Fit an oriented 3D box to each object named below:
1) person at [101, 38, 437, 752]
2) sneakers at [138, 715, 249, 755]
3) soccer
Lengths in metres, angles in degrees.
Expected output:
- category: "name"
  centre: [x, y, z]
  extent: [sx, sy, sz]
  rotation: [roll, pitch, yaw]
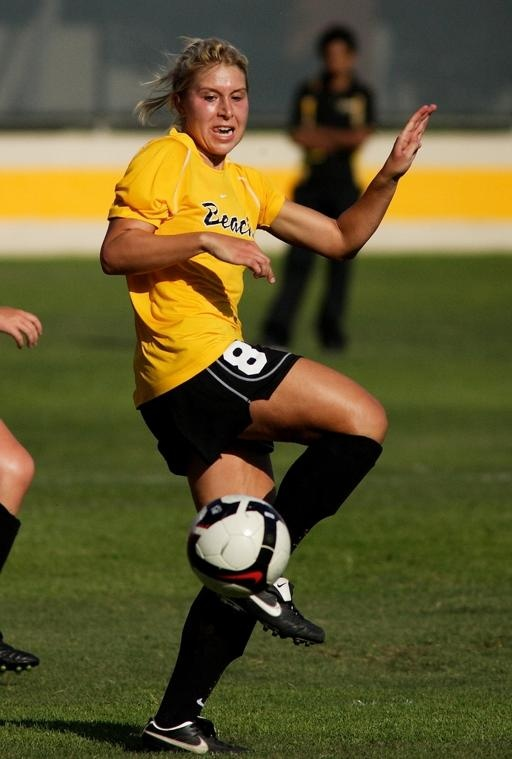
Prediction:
- category: "person"
  centre: [0.026, 0.016, 2.026]
  extent: [0.693, 1.592, 0.607]
  rotation: [0, 8, 11]
- category: "sneakers"
  centre: [-0.145, 0.759, 1.952]
  extent: [0.267, 0.081, 0.077]
  rotation: [4, -5, -4]
- category: "soccer"
  centre: [-0.030, 0.345, 1.841]
  extent: [0.240, 0.210, 0.214]
  rotation: [2, -4, 18]
